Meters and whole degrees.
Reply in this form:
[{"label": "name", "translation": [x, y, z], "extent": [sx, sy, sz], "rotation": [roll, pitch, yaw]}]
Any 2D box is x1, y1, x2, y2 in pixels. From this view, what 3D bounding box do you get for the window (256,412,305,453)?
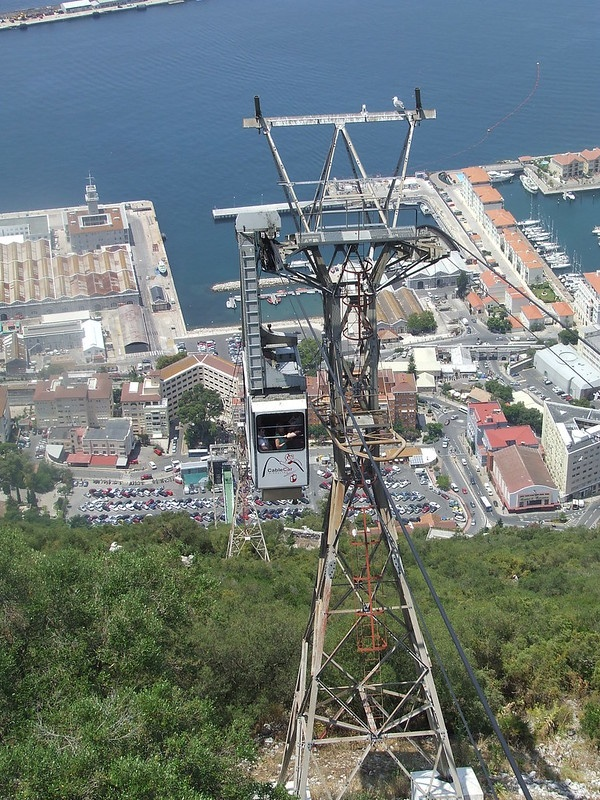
[{"label": "window", "translation": [-0.223, 0.333, 10.529], "extent": [0.503, 0.377, 0.062], "rotation": [0, 20, 1]}]
